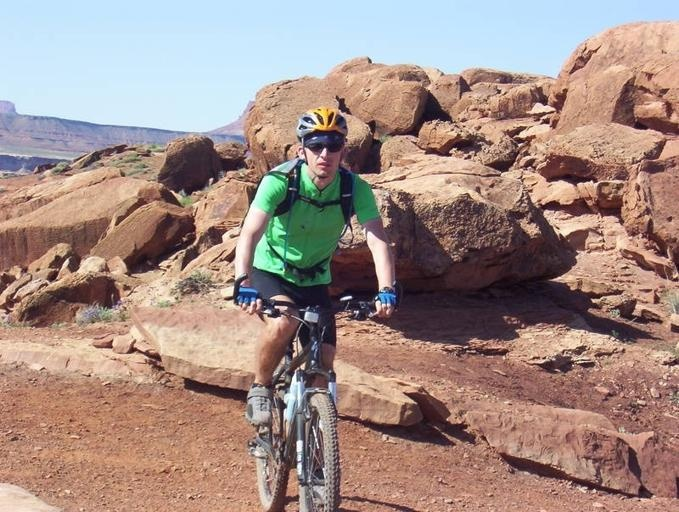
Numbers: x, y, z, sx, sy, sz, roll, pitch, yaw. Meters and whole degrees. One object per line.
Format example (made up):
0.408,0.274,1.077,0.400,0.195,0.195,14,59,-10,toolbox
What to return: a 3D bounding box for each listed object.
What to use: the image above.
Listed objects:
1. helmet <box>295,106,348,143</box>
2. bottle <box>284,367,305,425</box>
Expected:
-0.225,-1.618,9.352,0.604,0.454,0.286,3,4,-4,helmet
-0.531,1.629,9.010,0.205,0.630,0.283,7,-10,20,bottle
